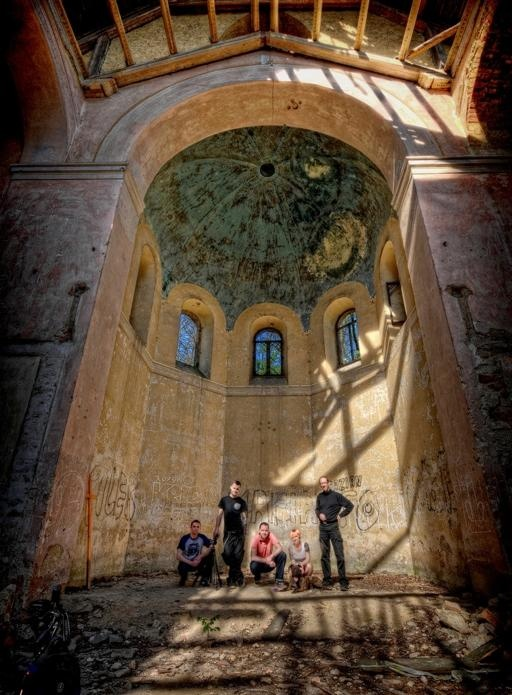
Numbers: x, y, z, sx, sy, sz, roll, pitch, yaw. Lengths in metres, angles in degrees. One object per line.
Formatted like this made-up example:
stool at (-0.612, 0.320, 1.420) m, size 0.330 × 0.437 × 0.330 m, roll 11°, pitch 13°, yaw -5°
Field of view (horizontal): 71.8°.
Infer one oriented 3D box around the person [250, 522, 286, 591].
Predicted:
person at (0.184, 2.861, 4.925) m, size 0.378 × 0.724 × 0.926 m, roll 7°, pitch -30°, yaw -16°

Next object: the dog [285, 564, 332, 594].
dog at (0.621, 2.892, 4.470) m, size 0.612 × 0.288 × 0.333 m, roll 16°, pitch -34°, yaw -30°

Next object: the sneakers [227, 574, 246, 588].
sneakers at (-0.274, 3.137, 4.700) m, size 0.275 × 0.146 × 0.247 m, roll -5°, pitch -13°, yaw 11°

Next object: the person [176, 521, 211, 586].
person at (-0.844, 2.956, 5.073) m, size 0.481 × 0.787 × 0.493 m, roll -2°, pitch -18°, yaw 3°

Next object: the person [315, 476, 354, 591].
person at (1.065, 2.482, 4.832) m, size 0.455 × 1.332 × 0.693 m, roll -3°, pitch -28°, yaw 1°
